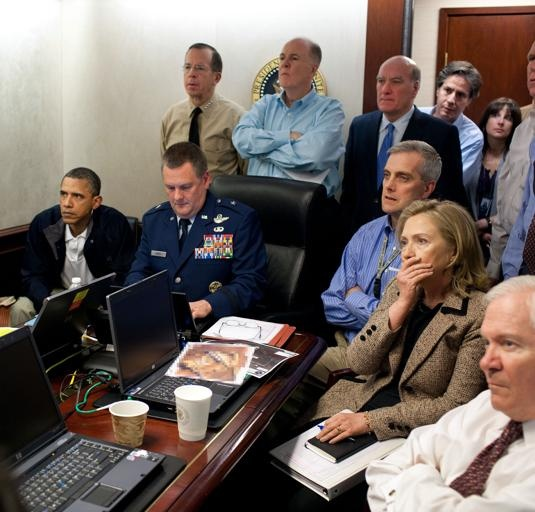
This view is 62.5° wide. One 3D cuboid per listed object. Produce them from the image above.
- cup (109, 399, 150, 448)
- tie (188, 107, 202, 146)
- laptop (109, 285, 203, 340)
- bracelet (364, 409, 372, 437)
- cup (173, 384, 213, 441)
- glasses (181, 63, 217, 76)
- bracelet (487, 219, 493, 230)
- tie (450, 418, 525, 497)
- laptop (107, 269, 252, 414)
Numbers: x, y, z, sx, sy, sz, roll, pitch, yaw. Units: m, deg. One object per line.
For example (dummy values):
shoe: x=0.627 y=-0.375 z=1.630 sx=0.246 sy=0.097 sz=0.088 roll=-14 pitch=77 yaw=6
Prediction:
cup: x=-0.398 y=0.479 z=1.325 sx=0.124 sy=0.104 sz=0.131 roll=2 pitch=11 yaw=0
tie: x=-0.603 y=-1.088 z=3.705 sx=0.113 sy=0.305 sz=0.175 roll=-1 pitch=19 yaw=2
laptop: x=-0.429 y=0.253 z=1.949 sx=0.212 sy=0.171 sz=0.205 roll=10 pitch=15 yaw=36
bracelet: x=0.372 y=0.625 z=1.638 sx=0.021 sy=0.059 sz=0.049 roll=0 pitch=-9 yaw=-3
cup: x=-0.212 y=0.467 z=1.362 sx=0.137 sy=0.152 sz=0.144 roll=1 pitch=3 yaw=0
glasses: x=-0.538 y=-1.546 z=3.647 sx=0.295 sy=0.078 sz=0.123 roll=-4 pitch=19 yaw=-7
bracelet: x=1.563 y=-0.226 z=3.121 sx=0.035 sy=0.057 sz=0.057 roll=2 pitch=56 yaw=12
tie: x=0.600 y=0.553 z=1.212 sx=0.210 sy=0.163 sz=0.076 roll=-13 pitch=21 yaw=-29
laptop: x=-0.313 y=0.317 z=1.667 sx=0.416 sy=0.408 sz=0.519 roll=5 pitch=10 yaw=14
